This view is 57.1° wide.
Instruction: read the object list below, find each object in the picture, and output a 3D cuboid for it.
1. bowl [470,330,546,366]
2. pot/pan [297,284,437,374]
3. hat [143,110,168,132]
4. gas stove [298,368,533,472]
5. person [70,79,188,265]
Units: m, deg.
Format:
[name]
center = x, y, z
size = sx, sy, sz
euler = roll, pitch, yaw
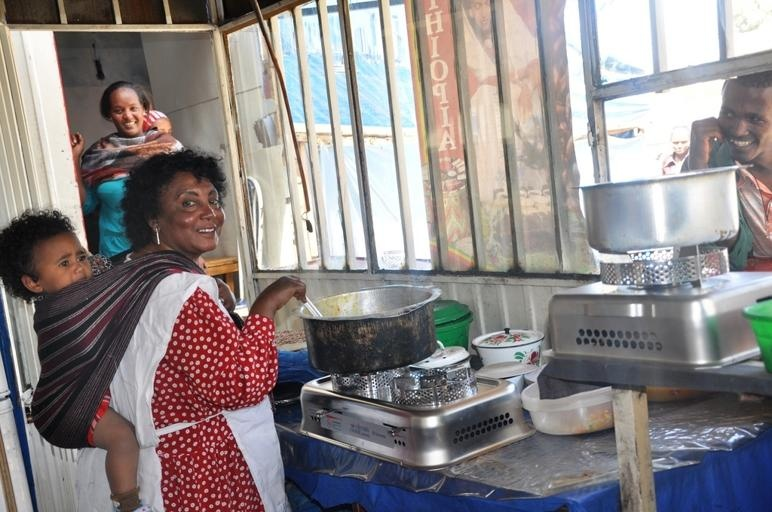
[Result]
[bowl]
center = 0.561, 0.424, 3.261
size = 0.235, 0.170, 0.273
euler = -14, 9, -38
[pot/pan]
center = -0.051, 0.292, 2.735
size = 0.412, 0.152, 0.411
euler = -11, 7, 2
[hat]
center = -1.697, -0.991, 5.230
size = 0.161, 0.164, 0.124
euler = 3, 7, -25
[gas stove]
center = 0.069, 0.611, 3.023
size = 0.917, 0.195, 0.716
euler = -4, 12, 34
[person]
center = -1.889, -0.304, 5.216
size = 0.754, 1.914, 0.667
euler = -9, 17, -28
